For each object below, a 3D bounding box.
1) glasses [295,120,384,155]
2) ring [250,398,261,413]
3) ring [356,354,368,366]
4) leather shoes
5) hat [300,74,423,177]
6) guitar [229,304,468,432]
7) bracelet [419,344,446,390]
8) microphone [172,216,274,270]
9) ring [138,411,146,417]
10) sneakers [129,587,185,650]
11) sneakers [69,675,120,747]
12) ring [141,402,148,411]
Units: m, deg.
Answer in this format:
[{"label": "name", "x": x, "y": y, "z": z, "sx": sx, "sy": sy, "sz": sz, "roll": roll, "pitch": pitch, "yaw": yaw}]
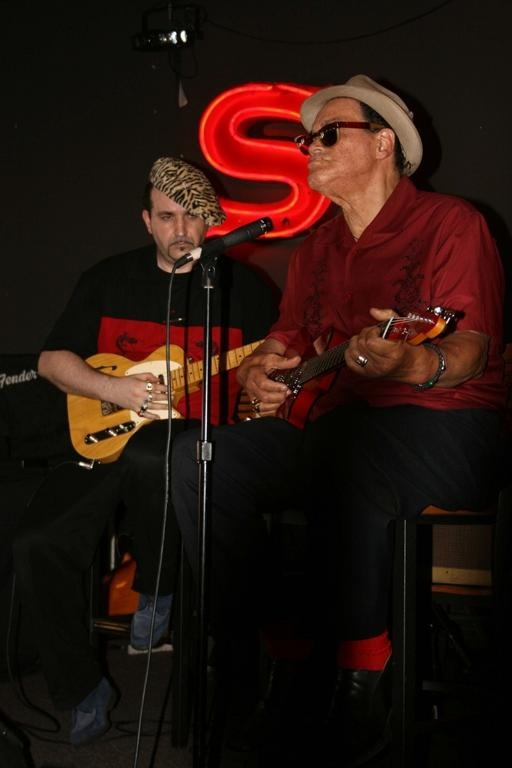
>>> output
[{"label": "glasses", "x": 0.286, "y": -0.809, "z": 2.373, "sx": 0.155, "sy": 0.042, "sz": 0.148, "roll": -2, "pitch": -12, "yaw": -29}, {"label": "ring", "x": -0.002, "y": 0.074, "z": 2.372, "sx": 0.017, "sy": 0.031, "sz": 0.042, "roll": -19, "pitch": -13, "yaw": -6}, {"label": "ring", "x": 0.265, "y": -0.063, "z": 1.829, "sx": 0.017, "sy": 0.028, "sz": 0.020, "roll": 0, "pitch": -31, "yaw": -21}, {"label": "leather shoes", "x": 0.271, "y": 0.744, "z": 1.935, "sx": 0.180, "sy": 0.173, "sz": 0.129, "roll": 2, "pitch": -7, "yaw": 7}, {"label": "hat", "x": 0.345, "y": -0.880, "z": 2.462, "sx": 0.462, "sy": 0.138, "sz": 0.391, "roll": 3, "pitch": 8, "yaw": -40}, {"label": "guitar", "x": 0.244, "y": -0.043, "z": 2.172, "sx": 0.345, "sy": 0.295, "sz": 0.869, "roll": -5, "pitch": -1, "yaw": -30}, {"label": "bracelet", "x": 0.450, "y": -0.045, "z": 1.883, "sx": 0.064, "sy": 0.116, "sz": 0.069, "roll": -6, "pitch": -1, "yaw": -6}, {"label": "microphone", "x": -0.106, "y": -0.382, "z": 2.011, "sx": 0.250, "sy": 0.130, "sz": 0.239, "roll": -5, "pitch": -1, "yaw": -18}, {"label": "ring", "x": -0.424, "y": 0.114, "z": 2.735, "sx": 0.021, "sy": 0.007, "sz": 0.026, "roll": 1, "pitch": -33, "yaw": 2}, {"label": "sneakers", "x": -0.371, "y": 0.839, "z": 2.657, "sx": 0.117, "sy": 0.112, "sz": 0.318, "roll": 12, "pitch": 22, "yaw": 9}, {"label": "sneakers", "x": -0.505, "y": 1.043, "z": 2.332, "sx": 0.068, "sy": 0.173, "sz": 0.141, "roll": 3, "pitch": -27, "yaw": 25}, {"label": "ring", "x": -0.413, "y": 0.082, "z": 2.715, "sx": 0.024, "sy": 0.033, "sz": 0.030, "roll": 3, "pitch": 49, "yaw": -12}]
